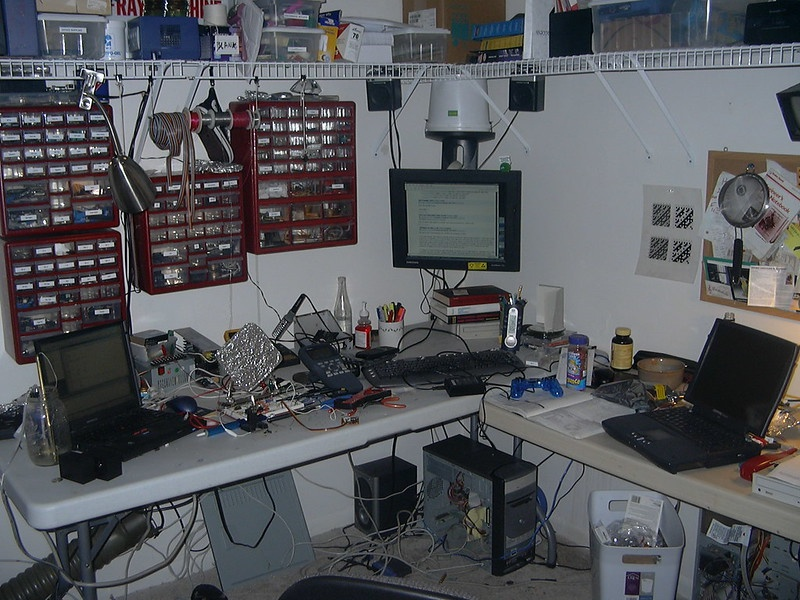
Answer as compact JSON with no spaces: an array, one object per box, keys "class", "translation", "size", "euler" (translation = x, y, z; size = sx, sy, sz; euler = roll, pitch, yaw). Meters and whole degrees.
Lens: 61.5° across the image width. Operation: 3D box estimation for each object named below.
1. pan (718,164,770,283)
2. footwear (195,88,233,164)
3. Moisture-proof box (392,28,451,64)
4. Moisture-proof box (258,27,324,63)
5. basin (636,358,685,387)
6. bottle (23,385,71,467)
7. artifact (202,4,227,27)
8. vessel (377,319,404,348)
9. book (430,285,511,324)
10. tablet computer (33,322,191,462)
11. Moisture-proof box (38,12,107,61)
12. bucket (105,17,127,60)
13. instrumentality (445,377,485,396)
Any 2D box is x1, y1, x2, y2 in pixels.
[{"class":"pan","translation":[1.308,-0.310,2.574],"size":[0.027,0.398,0.148],"euler":[-5,8,-37]},{"class":"footwear","translation":[-0.747,-0.694,2.679],"size":[0.115,0.292,0.177],"euler":[-6,15,-15]},{"class":"Moisture-proof box","translation":[0.092,-1.145,3.040],"size":[0.235,0.133,0.173],"euler":[-7,21,-14]},{"class":"Moisture-proof box","translation":[-0.434,-0.990,2.656],"size":[0.231,0.119,0.161],"euler":[-14,27,-37]},{"class":"basin","translation":[1.030,0.280,2.675],"size":[0.118,0.086,0.125],"euler":[-4,9,1]},{"class":"bottle","translation":[-1.148,0.417,2.179],"size":[0.119,0.235,0.099],"euler":[-13,18,-35]},{"class":"artifact","translation":[-0.700,-1.069,2.534],"size":[0.087,0.071,0.090],"euler":[1,4,-10]},{"class":"vessel","translation":[-0.051,0.160,3.149],"size":[0.109,0.114,0.099],"euler":[3,9,22]},{"class":"book","translation":[0.329,0.016,3.207],"size":[0.236,0.085,0.199],"euler":[-7,18,-25]},{"class":"tablet computer","translation":[-1.030,0.292,2.356],"size":[0.382,0.472,0.420],"euler":[-10,6,39]},{"class":"Moisture-proof box","translation":[-1.111,-0.891,2.283],"size":[0.207,0.137,0.051],"euler":[-9,16,-23]},{"class":"bucket","translation":[-0.996,-0.901,2.344],"size":[0.083,0.151,0.210],"euler":[-7,16,-19]},{"class":"instrumentality","translation":[0.253,0.338,2.634],"size":[0.108,0.035,0.079],"euler":[-3,16,-8]}]
